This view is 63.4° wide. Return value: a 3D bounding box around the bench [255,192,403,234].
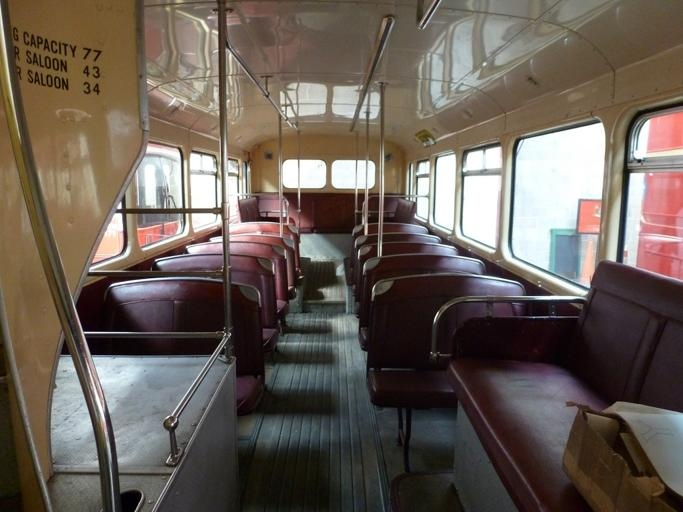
[{"bbox_3d":[-0.180,-0.715,10.660,2.304,1.184,0.794,-4,5,24],"label":"bench"}]
